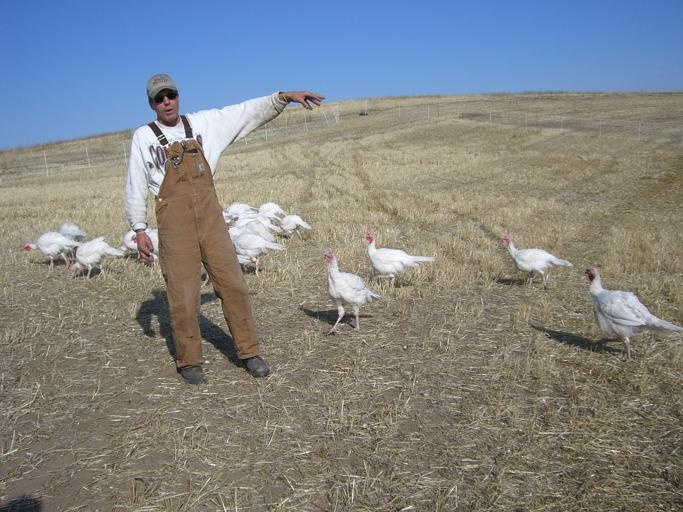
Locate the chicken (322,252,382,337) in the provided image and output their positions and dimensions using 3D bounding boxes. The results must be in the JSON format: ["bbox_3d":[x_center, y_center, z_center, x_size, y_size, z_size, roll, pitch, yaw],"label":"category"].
[{"bbox_3d":[0.304,0.505,7.252,0.793,1.343,1.261,9,13,24],"label":"chicken"}]

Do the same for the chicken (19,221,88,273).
[{"bbox_3d":[-7.118,-0.345,11.368,1.560,1.410,1.631,1,9,-33],"label":"chicken"}]

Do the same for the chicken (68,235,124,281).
[{"bbox_3d":[-5.763,0.079,10.473,0.977,1.001,1.080,-21,30,-31],"label":"chicken"}]

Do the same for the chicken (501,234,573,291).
[{"bbox_3d":[3.811,0.065,9.651,1.910,1.287,0.677,-7,6,34],"label":"chicken"}]
